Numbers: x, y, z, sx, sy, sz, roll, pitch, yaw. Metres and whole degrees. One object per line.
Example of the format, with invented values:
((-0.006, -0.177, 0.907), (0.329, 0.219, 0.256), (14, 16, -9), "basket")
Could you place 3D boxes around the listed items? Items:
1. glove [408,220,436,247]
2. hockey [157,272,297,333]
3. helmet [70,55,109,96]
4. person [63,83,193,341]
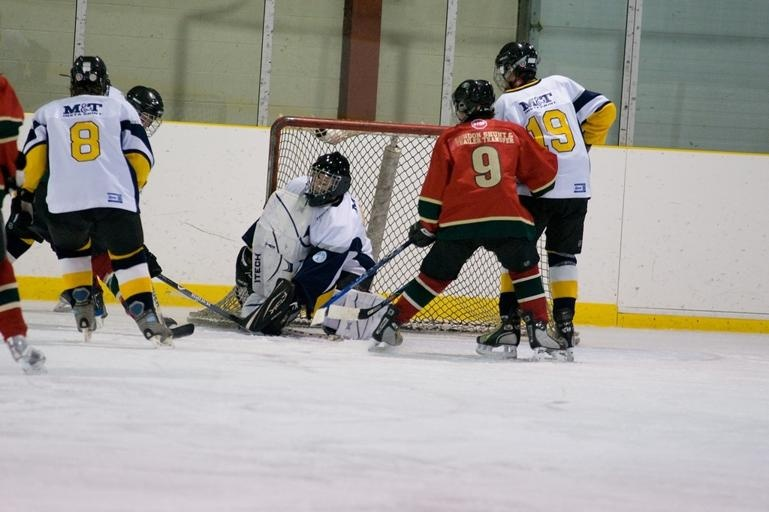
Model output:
((0.210, -0.135, 5.366), (0.156, 0.115, 0.059), (31, 28, -12), "glove")
((-1.096, 0.265, 5.663), (0.665, 0.065, 0.059), (33, -11, -32), "hockey")
((-1.528, -0.949, 5.002), (0.194, 0.205, 0.214), (0, 5, -10), "helmet")
((-1.494, -0.212, 5.505), (0.642, 1.787, 0.699), (-7, 47, -16), "person")
